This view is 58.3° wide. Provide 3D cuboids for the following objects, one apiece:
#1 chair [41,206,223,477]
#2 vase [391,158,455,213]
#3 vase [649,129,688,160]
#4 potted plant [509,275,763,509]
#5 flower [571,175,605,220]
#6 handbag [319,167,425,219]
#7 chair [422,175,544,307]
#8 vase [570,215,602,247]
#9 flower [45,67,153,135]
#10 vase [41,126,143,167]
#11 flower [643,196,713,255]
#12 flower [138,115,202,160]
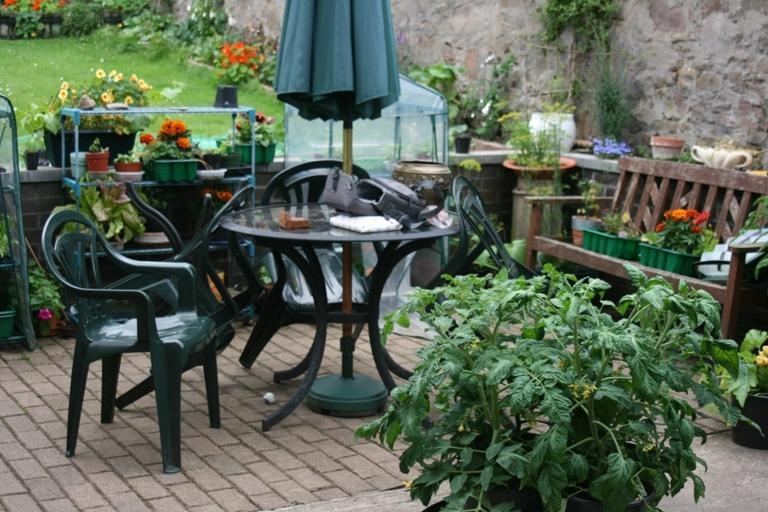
[{"bbox_3d":[-1.380,0.441,3.825,0.858,1.259,0.843,2,9,-12],"label":"chair"},{"bbox_3d":[0.309,-0.568,5.727,0.493,0.498,0.492,3,13,3],"label":"vase"},{"bbox_3d":[2.477,-0.938,6.104,0.361,0.242,0.368,3,4,39],"label":"vase"},{"bbox_3d":[1.048,0.637,2.926,0.918,1.124,0.596,-10,17,-36],"label":"potted plant"},{"bbox_3d":[1.716,-0.532,5.971,0.346,0.501,0.333,3,14,14],"label":"flower"},{"bbox_3d":[-0.085,-0.347,4.131,0.491,0.213,0.316,14,18,-36],"label":"handbag"},{"bbox_3d":[0.720,-0.004,4.346,0.706,0.941,0.564,14,3,44],"label":"chair"},{"bbox_3d":[1.606,-0.201,5.519,0.225,0.220,0.244,2,4,-2],"label":"vase"},{"bbox_3d":[-2.200,-1.211,5.328,0.595,0.402,0.669,5,30,2],"label":"flower"},{"bbox_3d":[-2.291,-0.869,5.331,0.517,0.205,0.345,0,1,-24],"label":"vase"},{"bbox_3d":[2.128,-0.235,4.866,0.358,0.245,0.389,-3,17,1],"label":"flower"},{"bbox_3d":[-1.709,-0.904,5.383,0.371,0.322,0.375,7,16,24],"label":"flower"}]
